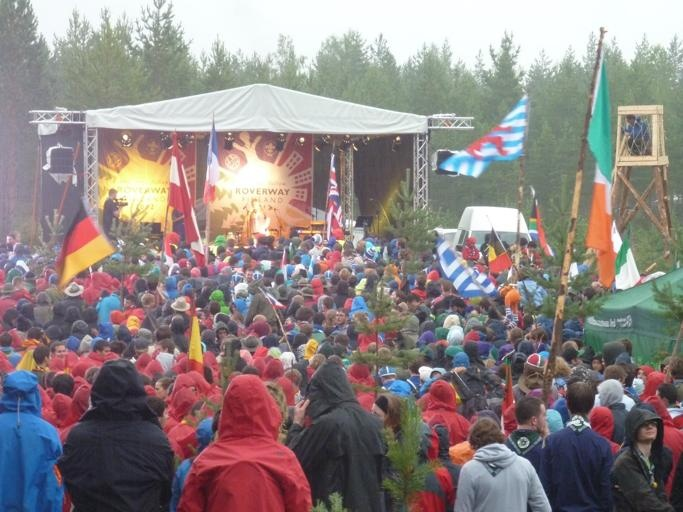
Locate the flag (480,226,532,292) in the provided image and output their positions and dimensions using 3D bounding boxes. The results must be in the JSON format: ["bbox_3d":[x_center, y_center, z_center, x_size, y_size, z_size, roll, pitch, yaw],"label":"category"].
[{"bbox_3d":[3.415,-0.197,25.385,0.763,1.631,0.128,-5,42,12],"label":"flag"}]

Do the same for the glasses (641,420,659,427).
[{"bbox_3d":[4.339,2.345,16.737,0.249,0.091,0.045,1,-1,-11],"label":"glasses"}]

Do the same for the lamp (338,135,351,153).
[{"bbox_3d":[0.093,-3.729,39.111,0.385,0.442,0.161,7,13,35],"label":"lamp"}]

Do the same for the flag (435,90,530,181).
[{"bbox_3d":[2.845,-2.288,22.692,1.453,1.574,0.873,0,-1,1],"label":"flag"}]

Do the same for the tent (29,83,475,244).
[{"bbox_3d":[-2.533,-2.950,36.740,13.210,5.072,4.089,0,0,-7],"label":"tent"}]

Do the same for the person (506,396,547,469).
[{"bbox_3d":[2.724,2.565,17.299,0.467,0.913,0.991,-5,2,-29],"label":"person"}]

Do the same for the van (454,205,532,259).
[{"bbox_3d":[4.285,-0.932,33.877,1.302,1.438,2.408,0,-5,-3],"label":"van"}]

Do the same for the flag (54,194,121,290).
[{"bbox_3d":[-4.596,-0.333,21.163,1.254,1.722,0.093,-20,37,-25],"label":"flag"}]

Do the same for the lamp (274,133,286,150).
[{"bbox_3d":[-2.001,-3.770,38.650,0.417,0.812,0.323,2,5,-10],"label":"lamp"}]

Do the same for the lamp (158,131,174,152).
[{"bbox_3d":[-5.451,-3.635,37.418,0.451,0.574,0.461,8,10,34],"label":"lamp"}]

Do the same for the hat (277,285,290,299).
[{"bbox_3d":[-1.134,0.725,23.593,0.197,0.277,0.258,6,-8,-18],"label":"hat"}]

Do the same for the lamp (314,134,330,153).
[{"bbox_3d":[-0.598,-3.770,39.667,0.450,0.488,0.119,3,27,11],"label":"lamp"}]

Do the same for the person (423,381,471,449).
[{"bbox_3d":[1.589,2.529,18.113,0.897,0.974,0.547,-1,-1,3],"label":"person"}]

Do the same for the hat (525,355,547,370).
[{"bbox_3d":[3.066,1.652,18.742,0.199,0.160,0.275,5,6,6],"label":"hat"}]
